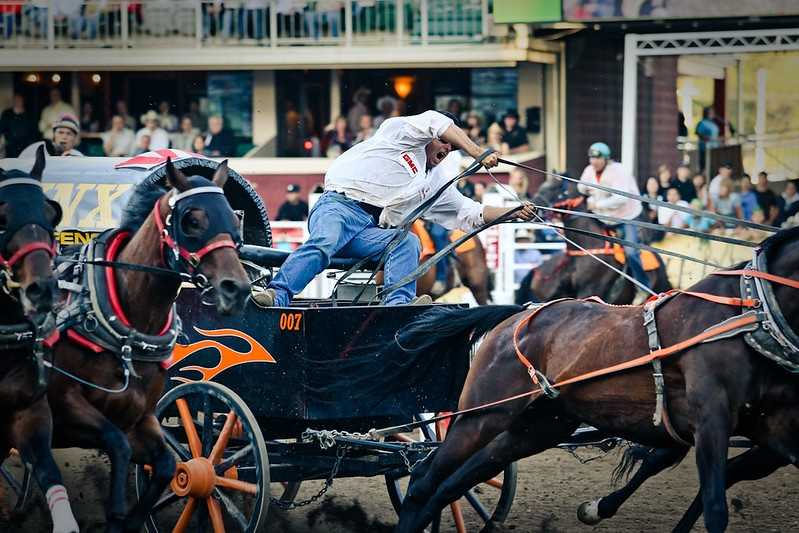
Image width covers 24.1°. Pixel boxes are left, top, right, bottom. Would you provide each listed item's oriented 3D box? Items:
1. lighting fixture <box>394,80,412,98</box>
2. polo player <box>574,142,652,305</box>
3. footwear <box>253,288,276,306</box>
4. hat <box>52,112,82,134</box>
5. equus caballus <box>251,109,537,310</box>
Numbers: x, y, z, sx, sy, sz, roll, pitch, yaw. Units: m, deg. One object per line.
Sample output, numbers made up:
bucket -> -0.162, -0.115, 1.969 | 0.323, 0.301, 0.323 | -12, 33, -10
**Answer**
lighting fixture -> 0.037, -3.091, 32.214 | 0.331, 0.319, 0.308 | -1, -12, 3
polo player -> 2.866, -0.840, 25.549 | 1.208, 2.547, 1.043 | 3, -6, 12
footwear -> -1.477, 0.333, 20.063 | 0.219, 0.150, 0.194 | 3, 35, 20
hat -> -4.182, -1.804, 23.078 | 0.256, 0.166, 0.340 | 8, -14, -14
equus caballus -> 0.036, -0.687, 20.730 | 3.186, 2.904, 1.645 | 2, -30, 11
